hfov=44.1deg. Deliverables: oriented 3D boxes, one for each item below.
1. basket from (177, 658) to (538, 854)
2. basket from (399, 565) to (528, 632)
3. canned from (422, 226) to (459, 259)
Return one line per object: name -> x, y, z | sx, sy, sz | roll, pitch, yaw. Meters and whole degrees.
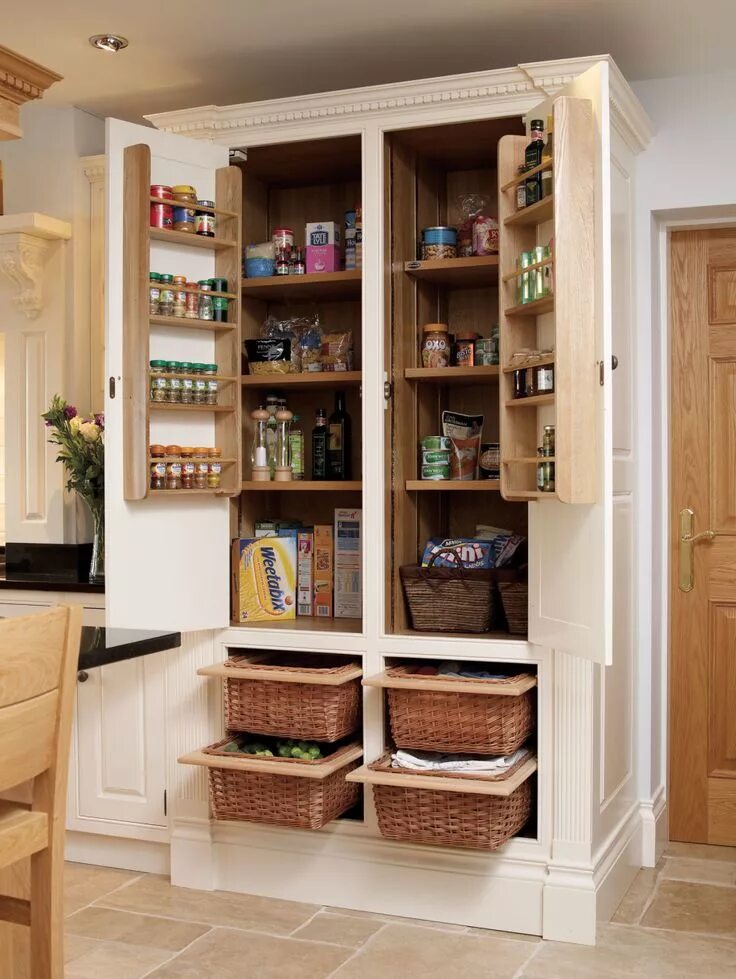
basket -> -0.005, 0.715, 2.446 | 0.917, 0.487, 0.450 | -2, -4, 19
basket -> 0.262, 0.280, 2.481 | 0.265, 0.129, 0.199 | 1, 0, 9
canned -> 0.204, -0.706, 2.656 | 0.103, 0.106, 0.100 | 1, -2, -22
